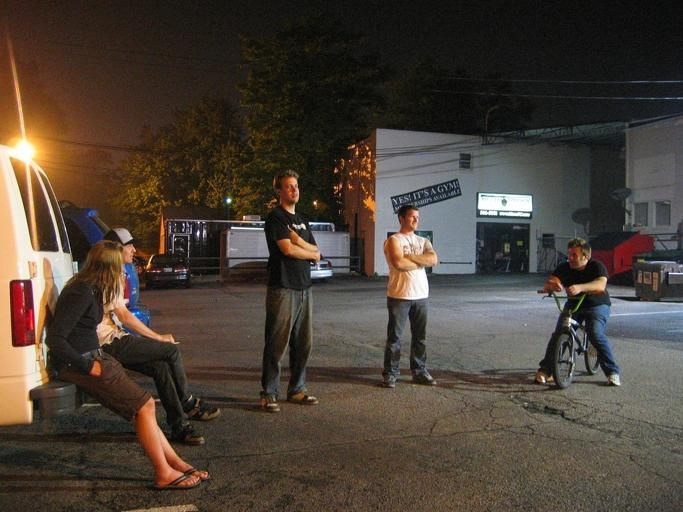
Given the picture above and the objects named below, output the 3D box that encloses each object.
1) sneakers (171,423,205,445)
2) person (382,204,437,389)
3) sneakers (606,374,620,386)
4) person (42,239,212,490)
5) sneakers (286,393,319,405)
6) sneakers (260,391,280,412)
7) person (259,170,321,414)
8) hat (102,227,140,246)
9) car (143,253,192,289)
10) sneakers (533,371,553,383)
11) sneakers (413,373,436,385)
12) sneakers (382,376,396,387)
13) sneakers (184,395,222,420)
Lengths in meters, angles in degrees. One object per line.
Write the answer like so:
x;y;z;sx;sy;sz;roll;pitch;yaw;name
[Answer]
-1.518;1.757;6.247;0.362;0.174;0.155;-1;-2;26;sneakers
0.866;0.498;8.125;0.700;2.313;0.494;-1;3;-4;person
3.524;1.598;8.125;0.151;0.169;0.109;-2;-1;1;sneakers
-1.905;0.987;5.753;1.415;2.118;0.871;3;0;-2;person
-0.451;1.671;7.377;0.302;0.143;0.148;0;-1;1;sneakers
-0.803;1.657;7.070;0.104;0.138;0.300;3;-7;-26;sneakers
-0.604;0.372;7.179;0.723;2.716;0.440;-4;5;-43;person
-2.434;-0.224;6.958;0.388;0.222;0.279;-2;6;-21;hat
-6.659;0.611;24.038;1.171;0.940;2.596;-1;2;-17;car
2.636;1.580;8.237;0.262;0.123;0.112;3;-4;-39;sneakers
1.077;1.600;8.183;0.297;0.141;0.123;-5;-4;34;sneakers
0.627;1.587;8.024;0.175;0.154;0.184;-2;3;-14;sneakers
-1.495;1.637;6.794;0.414;0.197;0.184;6;7;-14;sneakers
